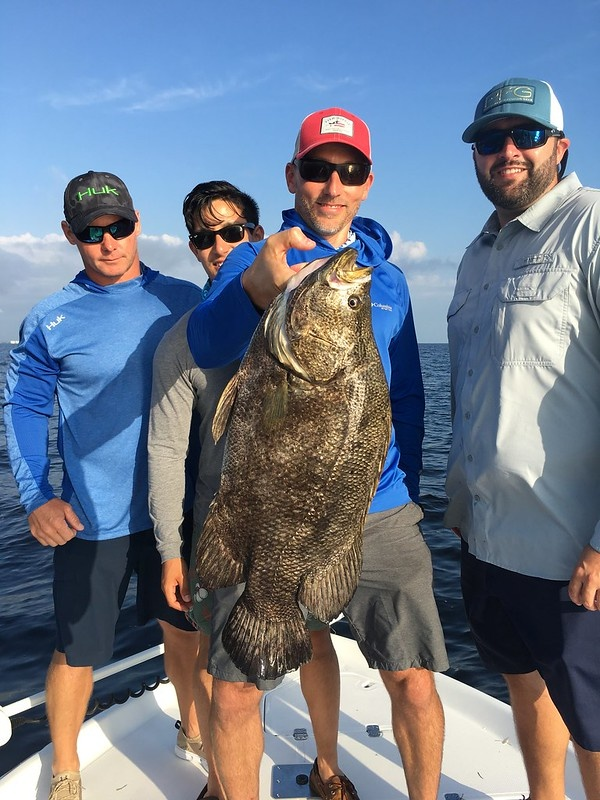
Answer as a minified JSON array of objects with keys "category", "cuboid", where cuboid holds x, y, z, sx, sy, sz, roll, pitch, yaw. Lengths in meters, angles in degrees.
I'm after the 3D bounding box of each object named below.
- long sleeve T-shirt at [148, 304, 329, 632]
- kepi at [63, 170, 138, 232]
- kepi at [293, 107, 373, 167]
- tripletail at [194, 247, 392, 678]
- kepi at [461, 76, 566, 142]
[{"category":"long sleeve T-shirt","cuboid":[-0.414,0.279,3.600,0.869,1.326,0.457,4,3,-39]},{"category":"kepi","cuboid":[-1.060,-1.069,4.057,0.372,0.244,0.473,-11,26,-9]},{"category":"kepi","cuboid":[0.167,-1.167,3.387,0.382,0.218,0.451,0,12,-7]},{"category":"tripletail","cuboid":[-0.031,0.259,2.758,0.708,1.580,0.278,-3,20,-8]},{"category":"kepi","cuboid":[1.032,-1.394,3.673,0.436,0.236,0.544,4,11,34]}]
